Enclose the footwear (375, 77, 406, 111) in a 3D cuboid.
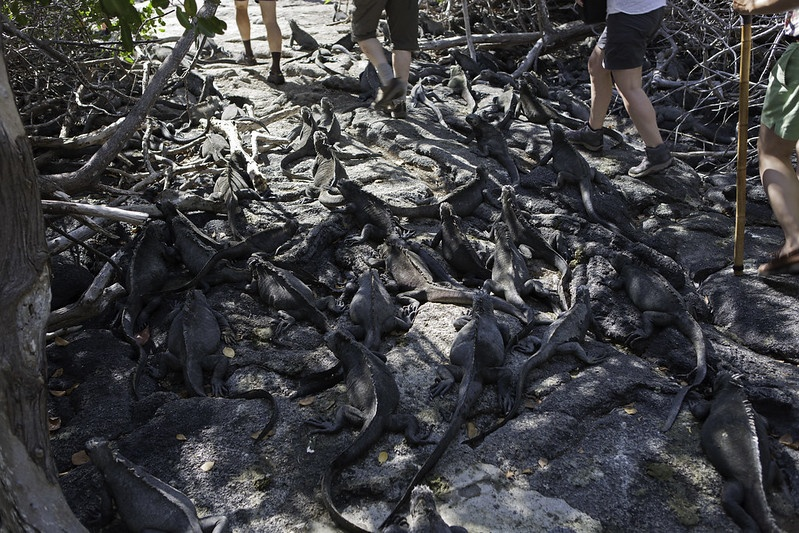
[{"bbox_3d":[-0.154,-2.453,9.478,0.216,0.259,0.593,13,-23,-25],"label":"footwear"}]
